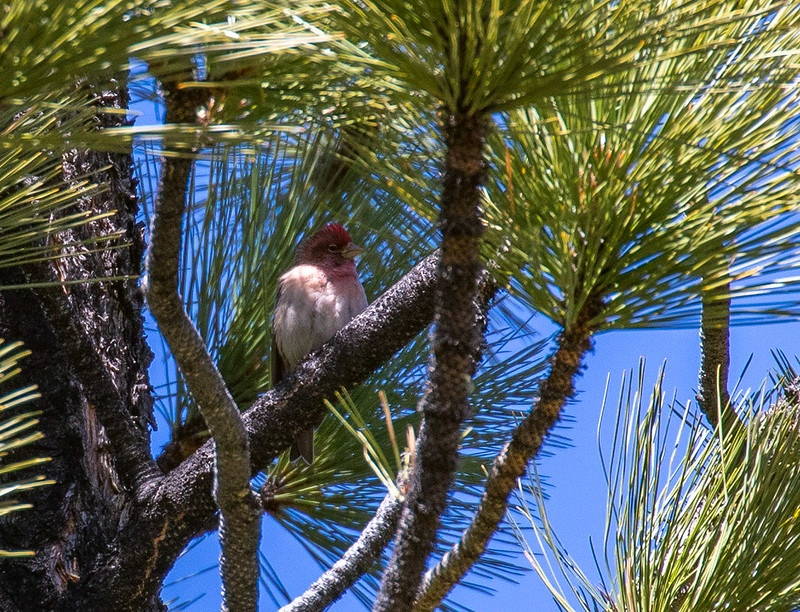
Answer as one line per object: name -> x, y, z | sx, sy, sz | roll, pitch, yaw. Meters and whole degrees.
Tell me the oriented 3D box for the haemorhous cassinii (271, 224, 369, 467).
haemorhous cassinii -> -0.358, 0.122, 5.453 | 0.334, 0.761, 0.617 | 16, -29, -23
